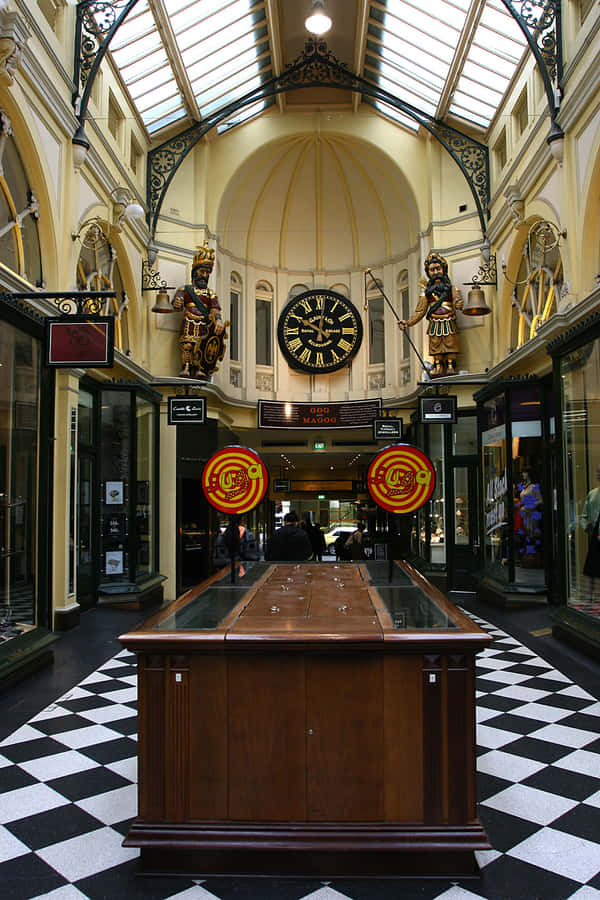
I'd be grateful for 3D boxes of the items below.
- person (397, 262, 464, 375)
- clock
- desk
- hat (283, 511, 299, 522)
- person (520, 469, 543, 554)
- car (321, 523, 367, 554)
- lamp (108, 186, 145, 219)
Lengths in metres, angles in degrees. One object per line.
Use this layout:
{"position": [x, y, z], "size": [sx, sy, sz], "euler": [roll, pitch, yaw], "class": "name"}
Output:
{"position": [2.275, -2.219, 11.252], "size": [0.890, 2.064, 0.597], "euler": [-2, -4, 23], "class": "person"}
{"position": [0.418, -2.402, 14.309], "size": [1.571, 1.759, 0.272], "euler": [-3, 2, 1], "class": "clock"}
{"position": [0.042, 1.076, 2.733], "size": [1.290, 0.831, 0.934], "euler": [-1, -4, 3], "class": "desk"}
{"position": [-0.090, 0.739, 7.147], "size": [0.118, 0.159, 0.145], "euler": [2, 0, -3], "class": "hat"}
{"position": [2.902, 0.810, 8.468], "size": [0.253, 1.077, 0.098], "euler": [-2, -4, 16], "class": "person"}
{"position": [1.369, 2.429, 19.003], "size": [1.439, 0.769, 0.870], "euler": [-6, -1, -6], "class": "car"}
{"position": [-2.331, -3.347, 9.163], "size": [0.358, 0.477, 0.538], "euler": [-1, -4, 0], "class": "lamp"}
